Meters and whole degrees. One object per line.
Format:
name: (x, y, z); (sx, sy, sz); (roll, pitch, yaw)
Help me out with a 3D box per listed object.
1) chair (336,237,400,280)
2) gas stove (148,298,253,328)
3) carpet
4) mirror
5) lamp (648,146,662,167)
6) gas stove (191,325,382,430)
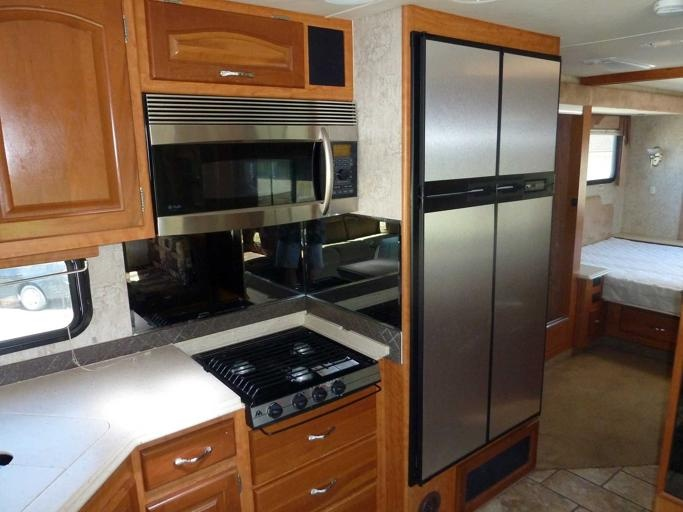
chair: (0.142, 0.030, 2.675); (0.241, 0.142, 0.216); (-21, 25, -26)
gas stove: (-0.763, 0.257, 2.868); (0.552, 0.099, 0.321); (-9, 17, -17)
carpet: (1.954, 1.174, 3.971); (0.985, 0.015, 0.613); (-9, 15, -28)
mirror: (-0.239, 0.102, 2.675); (0.838, 0.510, 0.825); (-13, 17, -41)
lamp: (3.983, -1.264, 6.652); (0.071, 0.260, 0.177); (-13, 17, -36)
gas stove: (-0.259, 0.576, 2.667); (0.902, 0.174, 0.872); (0, 16, -3)
